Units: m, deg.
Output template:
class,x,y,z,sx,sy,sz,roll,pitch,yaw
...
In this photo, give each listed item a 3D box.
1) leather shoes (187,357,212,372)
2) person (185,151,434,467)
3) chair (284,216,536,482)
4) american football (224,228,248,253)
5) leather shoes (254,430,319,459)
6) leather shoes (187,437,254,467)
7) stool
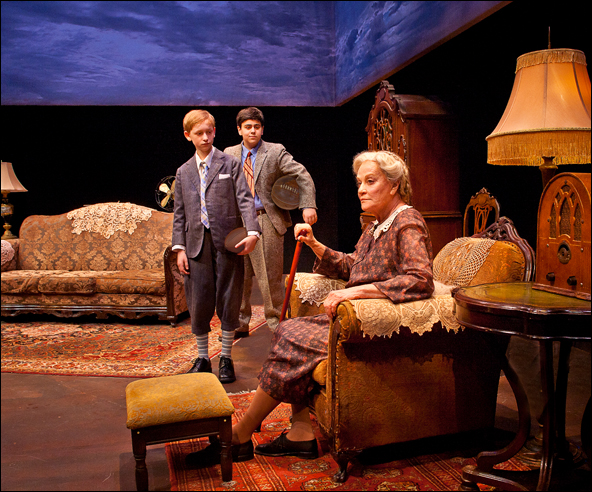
class,x,y,z,sx,sy,sz,roll,pitch,yaw
leather shoes,-0.668,0.834,3.611,0.093,0.119,0.267,-7,-15,31
person,0.059,0.296,2.575,1.181,1.547,0.770,2,-1,-17
chair,0.596,0.520,2.900,1.005,1.274,1.092,1,-7,-6
american football,-0.414,-0.045,3.533,0.142,0.154,0.037,30,-12,21
leather shoes,-0.046,0.993,2.611,0.303,0.139,0.118,3,-12,4
leather shoes,-0.356,0.997,2.539,0.334,0.141,0.139,0,-15,-5
stool,-0.541,0.777,2.369,0.436,0.398,0.444,0,-1,-19
